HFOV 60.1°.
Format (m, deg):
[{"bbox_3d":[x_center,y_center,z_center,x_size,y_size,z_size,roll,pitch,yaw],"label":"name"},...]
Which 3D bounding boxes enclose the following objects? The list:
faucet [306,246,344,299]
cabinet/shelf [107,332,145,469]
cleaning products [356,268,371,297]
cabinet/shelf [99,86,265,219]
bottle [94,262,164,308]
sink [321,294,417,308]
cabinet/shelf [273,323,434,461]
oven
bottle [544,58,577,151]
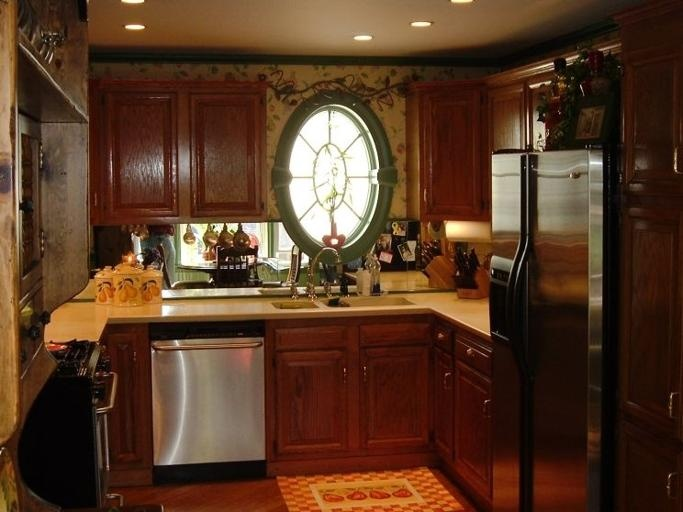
[{"bbox_3d":[-0.140,0.104,4.445,0.348,0.530,0.252,-3,4,-5],"label":"faucet"},{"bbox_3d":[-1.300,0.859,3.640,0.256,0.862,0.106,-4,7,-23],"label":"cabinet/shelf"},{"bbox_3d":[0.171,0.199,4.414,0.106,0.187,0.061,-1,6,2],"label":"cleaning products"},{"bbox_3d":[-1.133,-0.673,4.309,1.176,1.079,0.452,-2,-11,-12],"label":"cabinet/shelf"},{"bbox_3d":[-1.420,0.195,4.032,0.308,0.204,0.310,0,-1,0],"label":"bottle"},{"bbox_3d":[0.193,0.324,4.259,0.617,0.093,0.289,-2,7,-4],"label":"sink"},{"bbox_3d":[0.037,0.861,3.852,0.841,0.763,0.344,0,-1,-9],"label":"cabinet/shelf"},{"bbox_3d":[-0.838,0.888,4.040,0.859,1.340,0.895,0,-2,-11],"label":"oven"},{"bbox_3d":[1.072,-0.736,2.904,0.138,0.447,0.127,-2,9,0],"label":"bottle"}]
